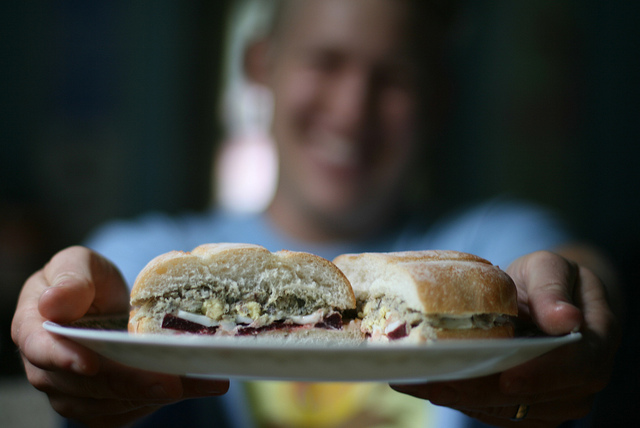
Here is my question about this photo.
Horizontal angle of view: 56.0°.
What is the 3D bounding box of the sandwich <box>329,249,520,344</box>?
[{"bbox_3d":[0.452,0.337,2.450,0.448,0.228,0.479,-1,-4,-13],"label":"sandwich"}]
